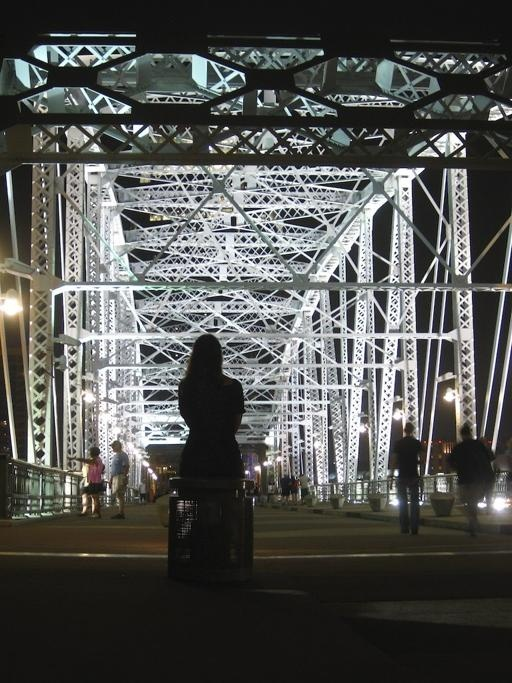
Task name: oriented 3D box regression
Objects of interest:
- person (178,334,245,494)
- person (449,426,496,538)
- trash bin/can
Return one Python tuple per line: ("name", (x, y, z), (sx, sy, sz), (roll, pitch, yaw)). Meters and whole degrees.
("person", (-0.253, 0.365, 5.324), (0.386, 0.826, 0.391), (2, -6, -5))
("person", (3.084, 2.059, 13.350), (0.630, 1.298, 1.638), (0, -6, 14))
("trash bin/can", (-0.227, 0.976, 4.841), (0.510, 0.546, 0.566), (-2, -7, 32))
